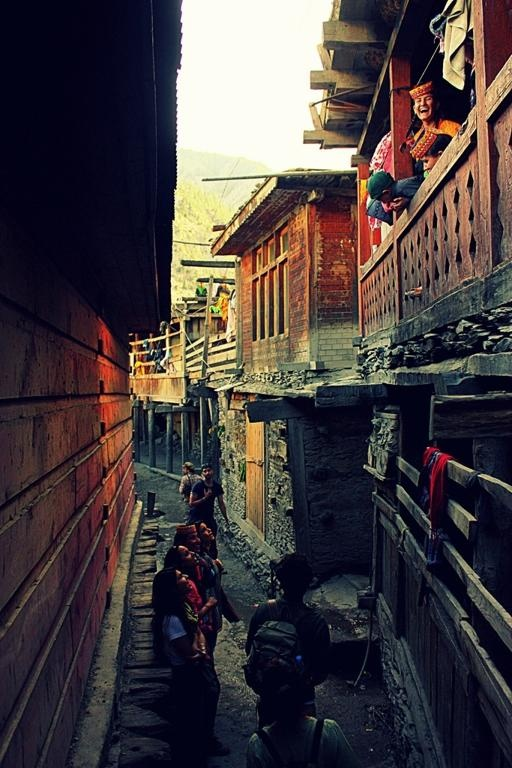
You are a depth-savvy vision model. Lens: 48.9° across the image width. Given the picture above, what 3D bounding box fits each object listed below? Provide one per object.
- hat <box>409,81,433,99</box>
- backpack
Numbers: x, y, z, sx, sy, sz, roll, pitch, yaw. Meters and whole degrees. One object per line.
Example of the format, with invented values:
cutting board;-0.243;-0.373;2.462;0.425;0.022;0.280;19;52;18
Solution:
hat;1.209;-2.216;4.209;0.109;0.064;0.142;-19;-4;-27
backpack;0.160;1.176;2.734;0.210;0.326;0.280;-34;-15;19
